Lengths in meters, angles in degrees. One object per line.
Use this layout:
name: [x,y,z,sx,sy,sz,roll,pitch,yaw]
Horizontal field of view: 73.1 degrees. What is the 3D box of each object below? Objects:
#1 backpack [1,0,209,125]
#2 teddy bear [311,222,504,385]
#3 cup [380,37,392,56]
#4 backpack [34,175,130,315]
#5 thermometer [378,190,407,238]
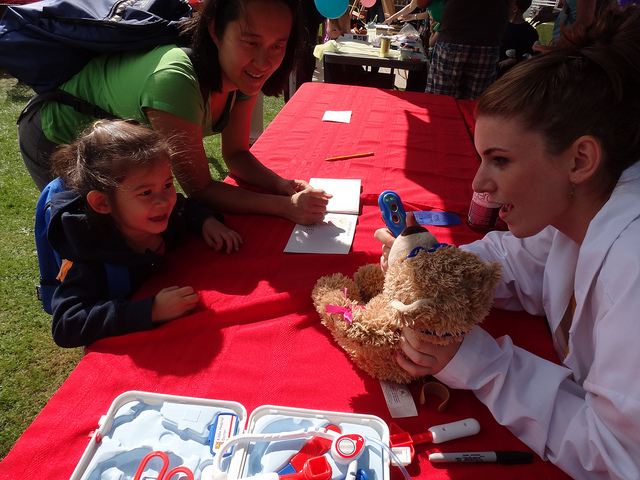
backpack: [-0.911,-0.753,2.002,0.753,0.313,0.566,3,34,-1]
teddy bear: [0.287,0.229,1.423,0.322,0.387,0.340,-17,66,-41]
cup: [0.672,-1.957,4.344,0.085,0.193,0.212,10,38,9]
backpack: [-0.879,0.011,1.640,0.257,0.490,0.329,-3,36,-12]
thermometer: [0.273,-0.097,1.641,0.089,0.170,0.048,-24,6,-14]
